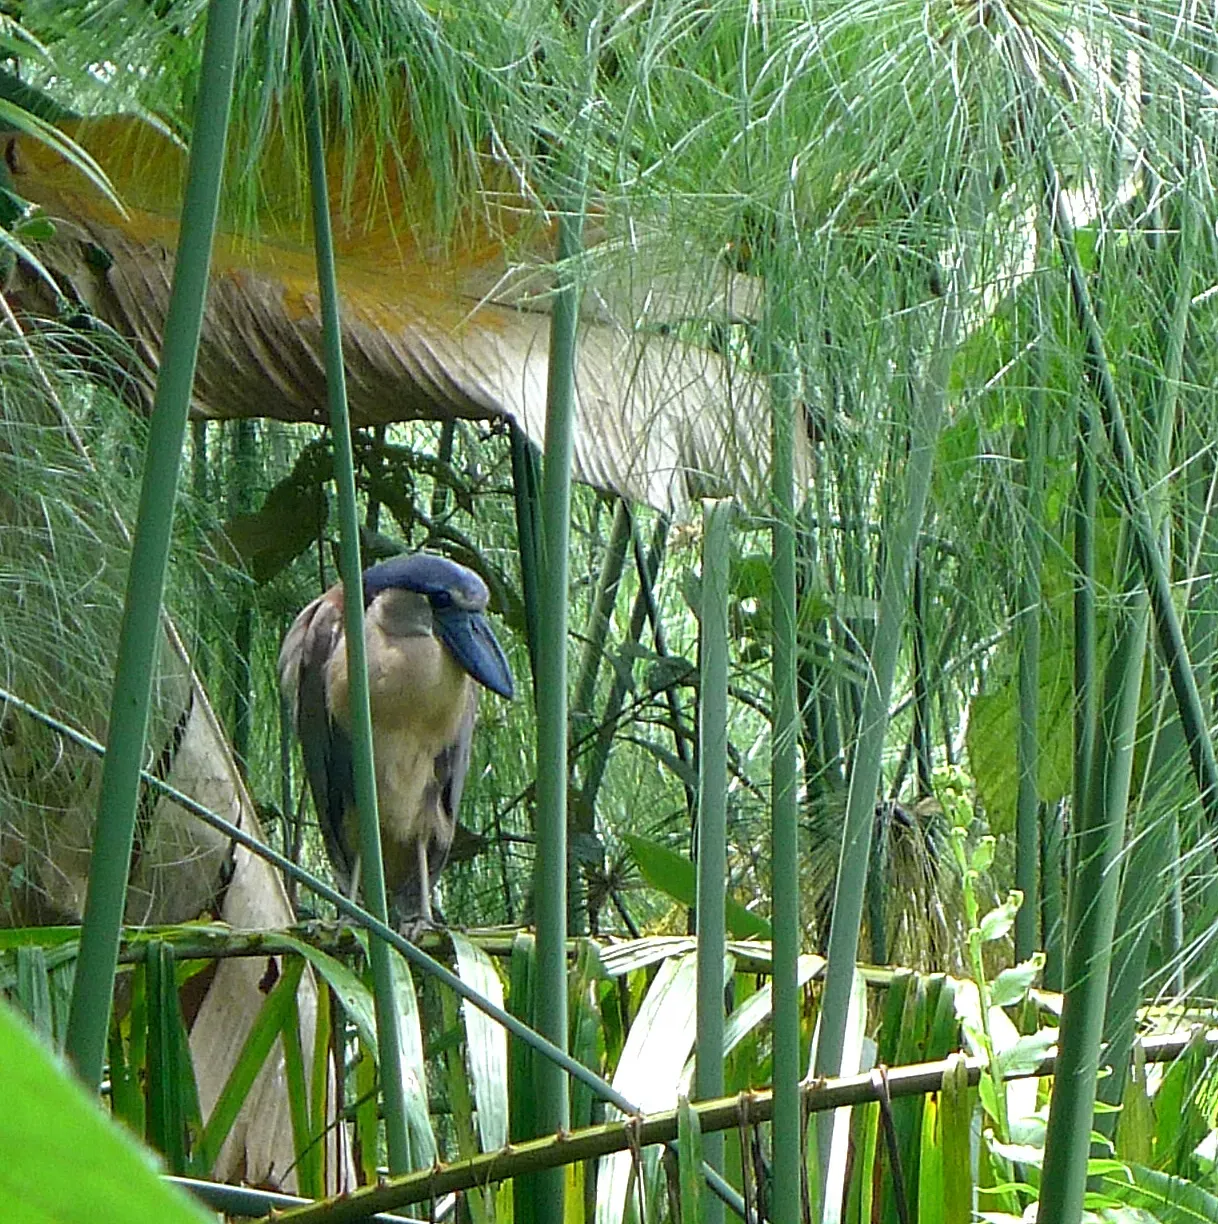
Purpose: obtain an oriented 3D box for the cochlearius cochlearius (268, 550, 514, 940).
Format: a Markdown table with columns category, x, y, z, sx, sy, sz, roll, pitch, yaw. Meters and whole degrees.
| category | x | y | z | sx | sy | sz | roll | pitch | yaw |
| --- | --- | --- | --- | --- | --- | --- | --- | --- | --- |
| cochlearius cochlearius | -0.308 | 0.194 | 2.989 | 0.256 | 0.622 | 0.383 | 5 | -3 | -34 |
